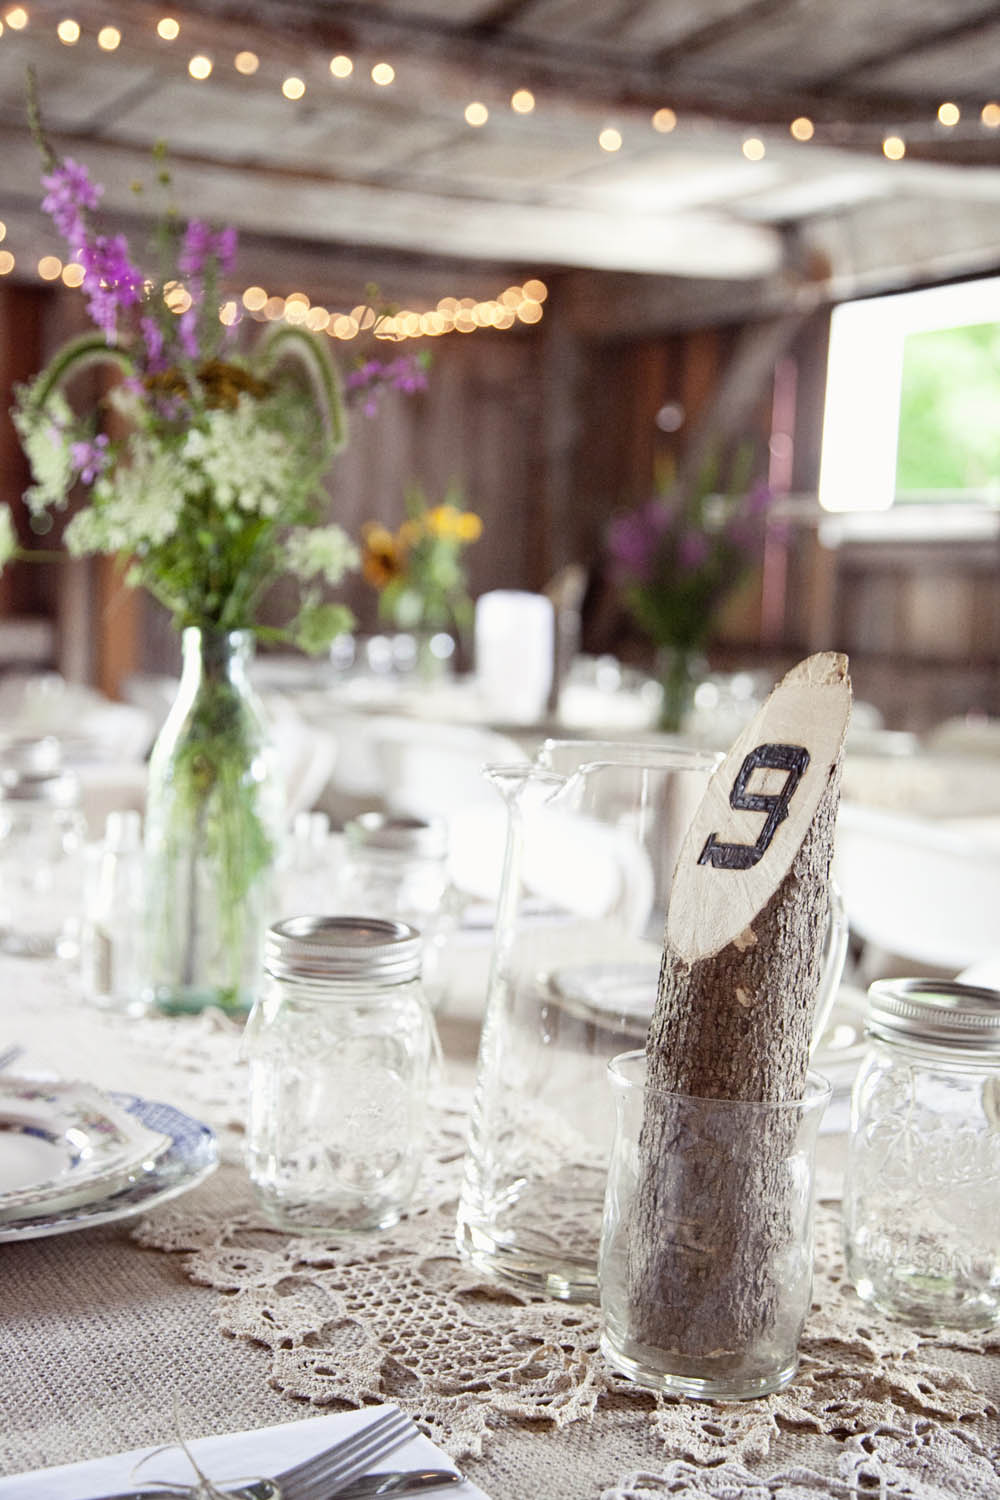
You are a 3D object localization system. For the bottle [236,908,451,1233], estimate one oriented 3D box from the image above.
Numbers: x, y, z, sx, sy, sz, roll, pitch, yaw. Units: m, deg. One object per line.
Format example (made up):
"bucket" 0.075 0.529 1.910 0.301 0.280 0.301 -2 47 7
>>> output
"bottle" -0.080 0.165 0.717 0.092 0.152 0.050 2 7 -10

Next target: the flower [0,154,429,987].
"flower" -0.223 -0.106 1.118 0.289 0.614 0.273 1 7 -18
